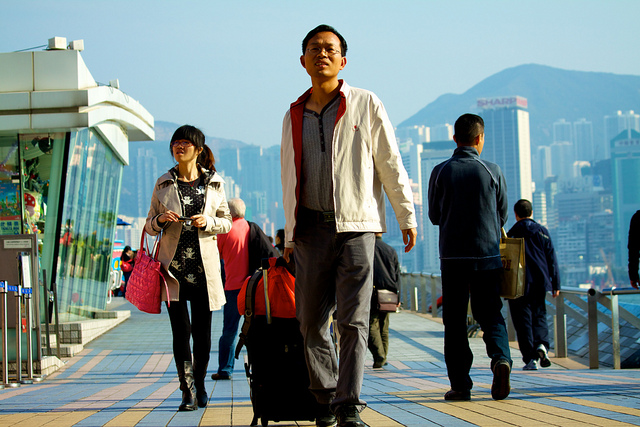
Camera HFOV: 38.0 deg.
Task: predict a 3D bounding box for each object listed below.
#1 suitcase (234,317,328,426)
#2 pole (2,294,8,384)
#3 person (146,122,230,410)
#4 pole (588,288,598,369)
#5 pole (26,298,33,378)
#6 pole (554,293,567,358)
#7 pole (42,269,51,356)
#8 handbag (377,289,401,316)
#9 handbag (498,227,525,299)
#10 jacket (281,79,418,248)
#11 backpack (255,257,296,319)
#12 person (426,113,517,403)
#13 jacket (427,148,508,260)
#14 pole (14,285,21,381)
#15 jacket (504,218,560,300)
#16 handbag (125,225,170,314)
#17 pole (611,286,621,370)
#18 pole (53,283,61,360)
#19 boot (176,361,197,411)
[{"bbox_3d":[-0.457,1.688,10.017,1.179,1.260,0.832,-3,-5,-1],"label":"suitcase"},{"bbox_3d":[-4.221,1.658,12.392,0.065,1.174,0.685,0,-8,-19],"label":"pole"},{"bbox_3d":[-1.516,0.595,10.768,0.937,3.269,0.476,-1,-8,-12],"label":"person"},{"bbox_3d":[3.843,1.591,13.028,0.174,1.109,0.344,-4,-8,14],"label":"pole"},{"bbox_3d":[-3.993,1.692,12.709,0.079,1.091,0.497,0,-8,-17],"label":"pole"},{"bbox_3d":[3.536,1.637,13.673,0.175,0.937,0.578,-4,-8,9],"label":"pole"},{"bbox_3d":[-3.999,1.493,13.539,0.101,1.118,0.673,0,-8,-17],"label":"pole"},{"bbox_3d":[0.943,1.269,13.326,0.356,0.382,0.239,8,-22,-19],"label":"handbag"},{"bbox_3d":[2.276,0.596,10.976,0.289,0.787,0.332,2,-4,-15],"label":"handbag"},{"bbox_3d":[0.232,-0.459,9.774,1.545,1.578,0.832,-4,-11,9],"label":"jacket"},{"bbox_3d":[-0.513,0.789,10.318,0.625,0.666,0.488,4,12,8],"label":"backpack"},{"bbox_3d":[1.756,0.465,10.815,0.934,3.374,0.418,-4,-8,9],"label":"person"},{"bbox_3d":[1.764,-0.065,11.123,0.971,1.390,0.767,0,-8,6],"label":"jacket"},{"bbox_3d":[-4.060,1.579,12.430,0.075,1.275,0.299,0,-8,-19],"label":"pole"},{"bbox_3d":[2.983,0.630,13.189,0.790,1.071,0.420,-6,-4,-5],"label":"jacket"},{"bbox_3d":[-2.045,0.659,10.791,0.501,0.970,0.205,-8,-9,34],"label":"handbag"},{"bbox_3d":[4.192,1.606,13.146,0.133,1.127,0.762,-5,-8,17],"label":"pole"},{"bbox_3d":[-3.931,1.584,13.816,0.103,1.134,0.703,0,-8,-16],"label":"pole"},{"bbox_3d":[-1.514,1.944,10.559,0.234,0.552,0.162,0,-8,-17],"label":"boot"}]
